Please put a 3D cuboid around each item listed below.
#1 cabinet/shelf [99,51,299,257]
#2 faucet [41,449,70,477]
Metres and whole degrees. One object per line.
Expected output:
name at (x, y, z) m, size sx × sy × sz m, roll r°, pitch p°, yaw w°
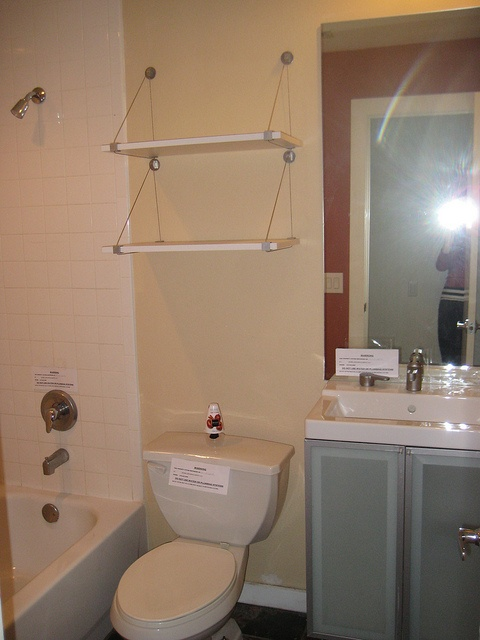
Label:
cabinet/shelf at (-0.125, -0.611, 1.957) m, size 0.559 × 0.744 × 0.207 m, roll 1°, pitch 4°, yaw 21°
faucet at (-0.739, 0.567, 2.225) m, size 0.045 × 0.104 × 0.145 m, roll -2°, pitch 6°, yaw 11°
